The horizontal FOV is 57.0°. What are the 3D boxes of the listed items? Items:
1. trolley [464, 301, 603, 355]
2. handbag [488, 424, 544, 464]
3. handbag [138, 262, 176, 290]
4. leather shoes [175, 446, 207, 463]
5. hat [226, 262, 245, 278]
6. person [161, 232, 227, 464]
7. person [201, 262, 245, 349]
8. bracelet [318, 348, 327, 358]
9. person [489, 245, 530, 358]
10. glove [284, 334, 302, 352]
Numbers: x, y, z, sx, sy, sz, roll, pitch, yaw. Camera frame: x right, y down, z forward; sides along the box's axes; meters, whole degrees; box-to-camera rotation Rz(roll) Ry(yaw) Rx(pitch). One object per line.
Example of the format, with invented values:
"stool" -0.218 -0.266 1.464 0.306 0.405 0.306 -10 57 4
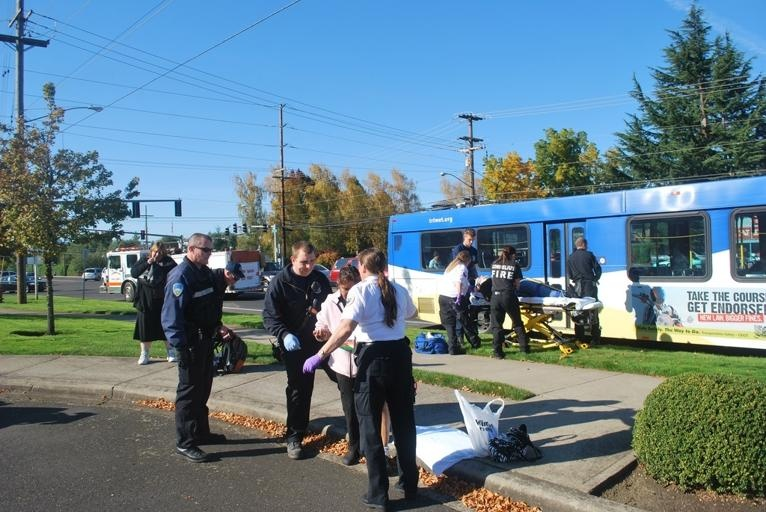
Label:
"trolley" 3.243 1.431 15.130 2.212 1.020 0.807 2 4 22
"handbag" 1.811 2.655 9.845 0.512 0.217 0.507 -9 8 -33
"handbag" -4.421 0.367 13.819 0.803 0.731 0.320 -3 -2 -28
"leather shoes" -2.763 2.881 10.281 0.454 0.184 0.171 9 -4 24
"hat" -2.217 0.185 10.684 0.262 0.194 0.268 -7 -37 47
"person" -2.753 1.339 10.412 0.881 2.679 0.420 -3 -1 -22
"person" -2.413 0.691 10.652 0.374 1.051 0.749 11 8 42
"bracelet" -0.823 1.328 9.585 0.111 0.086 0.076 -9 0 41
"person" 2.527 0.928 14.348 0.703 2.171 0.477 -3 -1 -2
"glove" -1.298 1.245 10.045 0.107 0.207 0.257 -13 19 -26
